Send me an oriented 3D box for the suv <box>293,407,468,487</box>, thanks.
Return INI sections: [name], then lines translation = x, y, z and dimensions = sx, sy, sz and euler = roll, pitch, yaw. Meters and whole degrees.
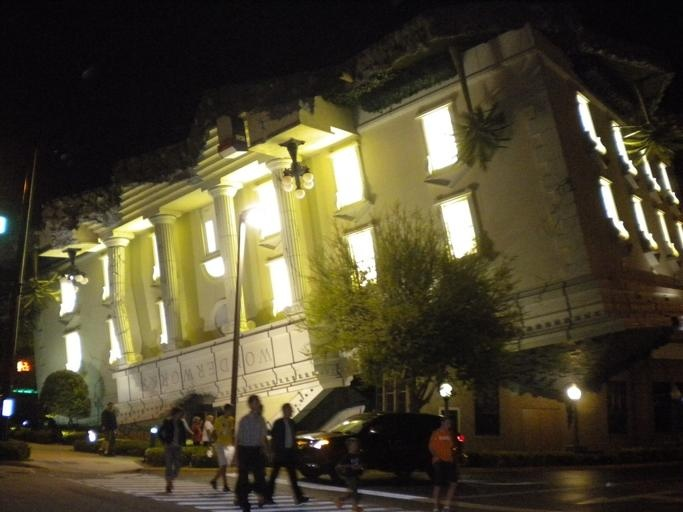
[suv]
translation = 0.999, 6.346, 23.371
dimensions = 5.355, 1.961, 2.538
euler = 6, -14, -20
